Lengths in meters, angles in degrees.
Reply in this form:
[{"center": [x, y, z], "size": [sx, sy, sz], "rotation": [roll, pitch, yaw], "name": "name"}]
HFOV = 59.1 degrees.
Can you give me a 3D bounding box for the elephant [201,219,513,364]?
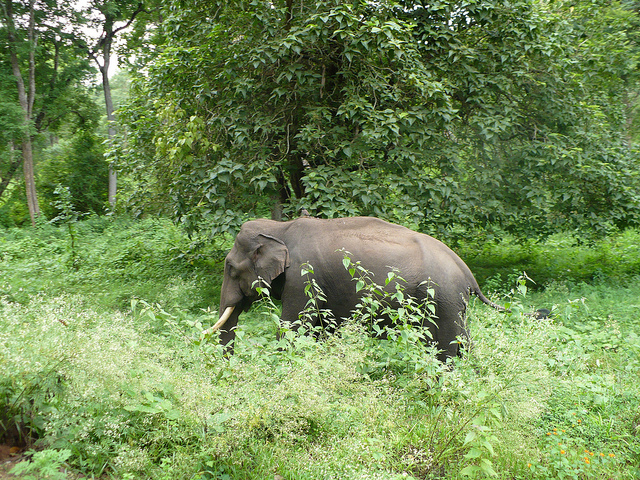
[{"center": [0.275, 0.879, 7.246], "size": [4.106, 2.064, 1.312], "rotation": [1, 0, 14], "name": "elephant"}]
